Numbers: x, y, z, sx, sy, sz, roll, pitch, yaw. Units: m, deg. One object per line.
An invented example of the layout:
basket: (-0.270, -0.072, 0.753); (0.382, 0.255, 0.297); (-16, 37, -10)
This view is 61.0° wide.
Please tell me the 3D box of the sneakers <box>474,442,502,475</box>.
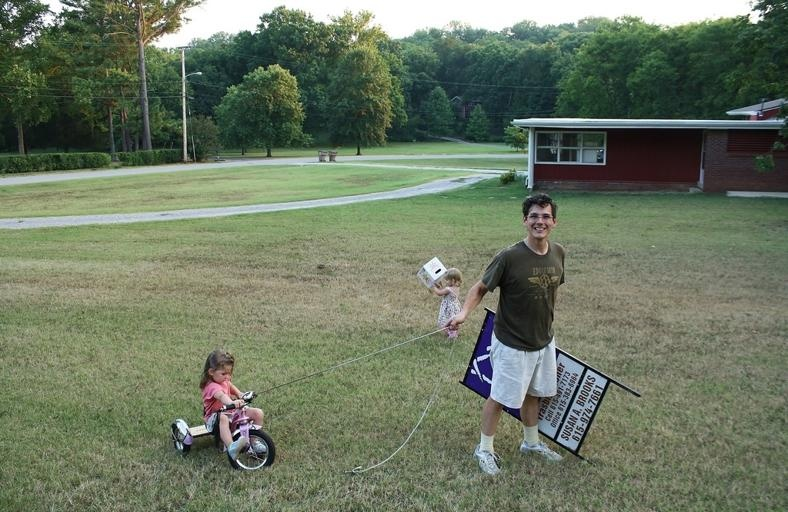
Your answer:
sneakers: (1.198, 2.621, 8.671); (0.238, 0.147, 0.376); (-7, 21, -21)

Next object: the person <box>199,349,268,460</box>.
person: (-2.104, 1.928, 8.776); (1.102, 1.176, 0.750); (9, 5, 43)

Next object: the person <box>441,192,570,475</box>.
person: (1.595, 0.998, 8.537); (1.295, 3.485, 0.613); (-6, 14, -14)

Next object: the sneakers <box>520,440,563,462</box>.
sneakers: (1.926, 2.568, 8.839); (0.561, 0.215, 0.208); (5, 21, 14)

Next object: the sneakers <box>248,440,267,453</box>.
sneakers: (-1.742, 2.428, 8.602); (0.236, 0.219, 0.134); (-2, 17, -6)

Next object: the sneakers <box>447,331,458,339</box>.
sneakers: (0.995, 1.339, 11.359); (0.156, 0.062, 0.151); (-3, 15, -1)
